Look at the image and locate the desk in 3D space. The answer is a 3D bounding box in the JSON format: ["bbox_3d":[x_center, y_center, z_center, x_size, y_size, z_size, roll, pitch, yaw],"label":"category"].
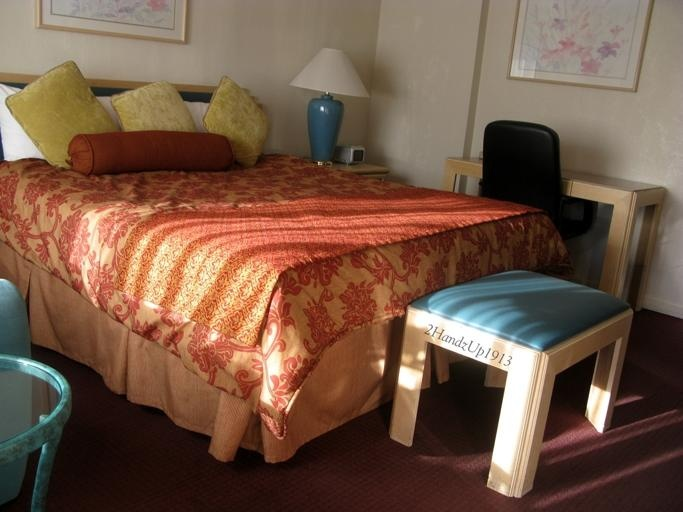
[{"bbox_3d":[1.266,-0.127,2.817,0.270,0.586,0.851,-13,24,-36],"label":"desk"}]

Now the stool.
[{"bbox_3d":[0.581,0.449,2.011,0.773,0.553,0.808,2,13,-11],"label":"stool"}]

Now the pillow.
[{"bbox_3d":[-1.181,-0.764,2.969,1.077,0.335,0.707,-3,46,-46],"label":"pillow"}]
